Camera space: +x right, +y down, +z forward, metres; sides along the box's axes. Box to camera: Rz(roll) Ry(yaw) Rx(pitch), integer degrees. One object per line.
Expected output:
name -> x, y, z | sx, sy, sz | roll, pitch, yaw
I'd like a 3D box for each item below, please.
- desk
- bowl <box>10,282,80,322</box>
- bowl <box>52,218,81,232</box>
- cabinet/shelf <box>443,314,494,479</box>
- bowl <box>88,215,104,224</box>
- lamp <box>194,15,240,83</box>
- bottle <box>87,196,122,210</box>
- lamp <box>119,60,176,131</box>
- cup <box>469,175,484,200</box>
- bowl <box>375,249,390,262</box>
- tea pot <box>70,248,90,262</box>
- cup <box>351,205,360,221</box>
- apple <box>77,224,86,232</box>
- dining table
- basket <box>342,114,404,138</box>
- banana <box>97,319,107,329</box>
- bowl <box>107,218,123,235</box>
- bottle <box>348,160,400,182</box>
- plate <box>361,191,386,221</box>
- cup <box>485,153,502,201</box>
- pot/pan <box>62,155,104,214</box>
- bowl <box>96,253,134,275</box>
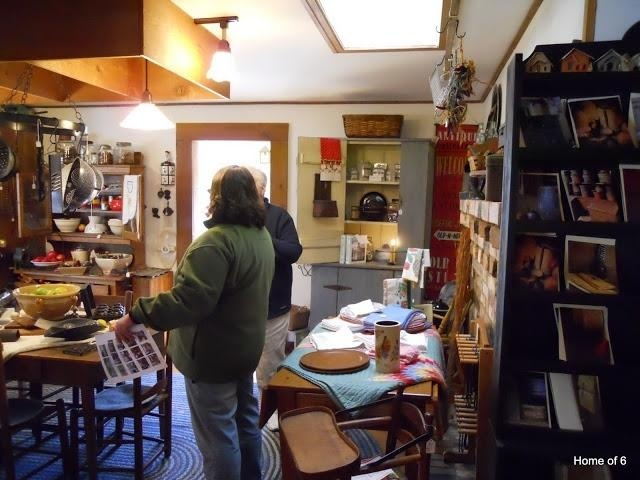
desk -> 0.158, 0.667, 2.005 | 0.520, 0.398, 0.782 | 0, 3, 5
bowl -> -1.669, 0.412, 3.140 | 0.356, 0.196, 0.363 | 0, -1, 0
bowl -> -3.035, -0.184, 5.941 | 0.203, 0.130, 0.203 | -1, -2, 0
cabinet/shelf -> 0.790, 0.844, 2.635 | 0.293, 0.630, 0.943 | 1, -1, 12
bowl -> -2.688, -0.239, 5.958 | 0.097, 0.089, 0.122 | -1, -5, 30
lamp -> -0.634, -1.203, 3.126 | 0.249, 0.476, 0.412 | 1, 2, -1
bottle -> -2.448, -0.418, 5.649 | 0.335, 0.128, 0.246 | 1, 2, 5
lamp -> -1.050, -0.896, 2.990 | 0.396, 0.455, 0.411 | -5, 20, -27
cup -> 0.902, -0.297, 2.777 | 0.129, 0.138, 0.089 | 3, 6, 21
bowl -> 0.673, 0.160, 5.290 | 0.117, 0.092, 0.120 | 0, -1, 0
tea pot -> -2.799, 0.182, 5.789 | 0.180, 0.181, 0.234 | 0, 2, -27
cup -> 0.388, -0.300, 5.493 | 0.124, 0.171, 0.122 | 1, 0, 0
apple -> -2.893, -0.151, 6.020 | 0.085, 0.090, 0.086 | -5, -31, -8
dining table -> -1.248, 0.748, 2.817 | 0.793, 0.791, 0.622 | 0, 0, 9
basket -> 0.549, -1.169, 5.121 | 0.427, 0.153, 0.307 | 2, 7, 4
banana -> -1.305, 0.497, 2.964 | 0.041, 0.061, 0.047 | 2, 32, 11
bowl -> -2.409, -0.162, 5.877 | 0.171, 0.176, 0.192 | -1, -3, -7
bottle -> 0.583, -0.744, 5.420 | 0.551, 0.240, 0.356 | 1, 2, 6
plate -> 0.557, -0.367, 5.417 | 0.278, 0.334, 0.296 | 1, -1, 2
cup -> 0.850, -0.306, 2.421 | 0.075, 0.237, 0.112 | 1, 2, 17
pot/pan -> -1.517, -0.350, 3.161 | 0.218, 0.324, 0.168 | 0, 2, -27
bowl -> -2.331, 0.254, 5.601 | 0.276, 0.145, 0.286 | 0, 0, 0
